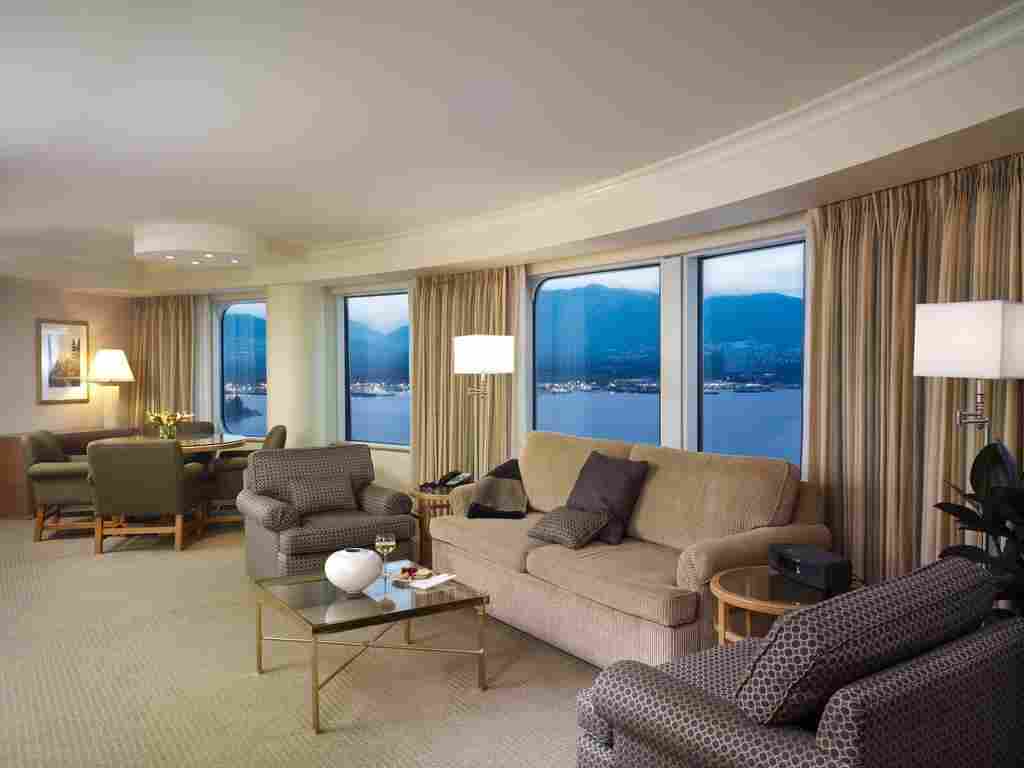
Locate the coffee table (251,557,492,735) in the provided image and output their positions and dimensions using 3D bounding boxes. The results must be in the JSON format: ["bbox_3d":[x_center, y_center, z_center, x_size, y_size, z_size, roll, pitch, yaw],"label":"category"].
[{"bbox_3d":[-0.769,1.336,4.050,0.881,0.474,0.881,1,-1,-31],"label":"coffee table"}]

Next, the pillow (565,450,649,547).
[{"bbox_3d":[0.674,0.781,5.006,0.171,0.527,0.559,32,-16,-39],"label":"pillow"}]

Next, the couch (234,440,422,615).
[{"bbox_3d":[-1.506,1.080,5.881,1.322,1.083,1.223,0,-1,-20],"label":"couch"}]

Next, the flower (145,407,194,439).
[{"bbox_3d":[-3.824,0.427,8.014,0.456,0.257,0.461,2,2,44],"label":"flower"}]

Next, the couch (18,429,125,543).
[{"bbox_3d":[-4.623,0.960,7.397,0.975,1.366,1.453,-1,1,-20],"label":"couch"}]
